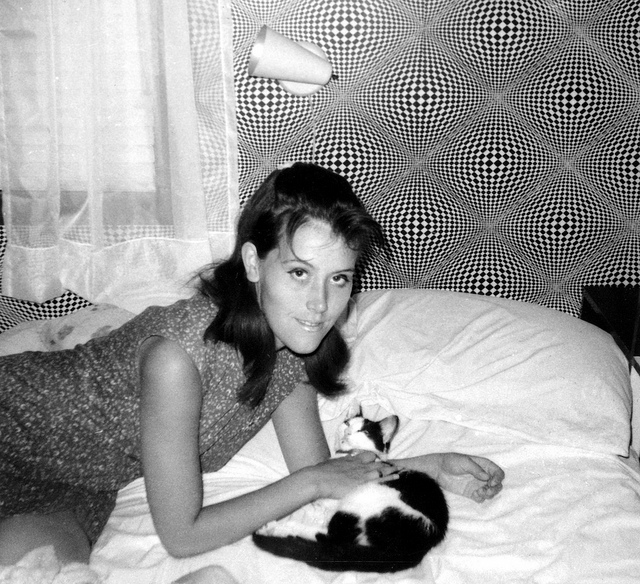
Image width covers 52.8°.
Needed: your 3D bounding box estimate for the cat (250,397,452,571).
[{"bbox_3d":[0.115,0.442,1.537,0.589,0.352,0.200,-3,23,14],"label":"cat"}]
